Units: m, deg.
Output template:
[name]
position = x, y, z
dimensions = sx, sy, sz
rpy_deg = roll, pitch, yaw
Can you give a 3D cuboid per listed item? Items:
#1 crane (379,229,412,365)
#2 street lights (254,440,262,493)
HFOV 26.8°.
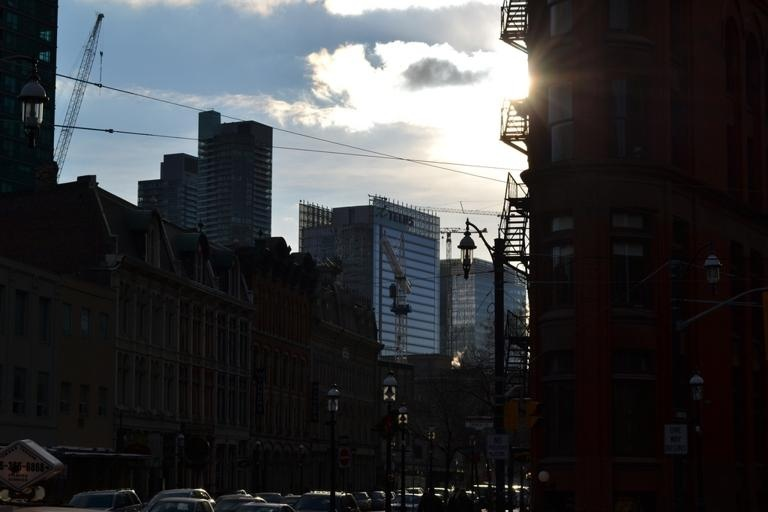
[crane]
position = 2.402, 8.858, 355.764
dimensions = 6.588, 28.259, 3.943
rpy_deg = 1, -17, -1
[street lights]
position = -14.125, 14.668, 112.812
dimensions = 0.541, 3.919, 0.627
rpy_deg = 5, -6, -3
